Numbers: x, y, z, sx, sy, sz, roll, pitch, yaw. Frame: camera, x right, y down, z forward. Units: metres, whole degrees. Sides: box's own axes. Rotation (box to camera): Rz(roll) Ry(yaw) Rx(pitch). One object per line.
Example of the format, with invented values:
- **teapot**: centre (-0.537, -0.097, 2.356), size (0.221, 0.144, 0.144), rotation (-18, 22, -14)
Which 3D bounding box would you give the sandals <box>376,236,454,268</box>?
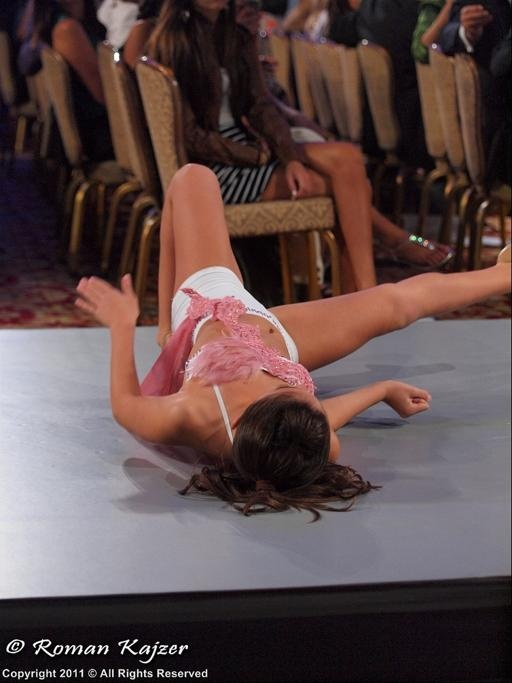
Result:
- **sandals**: centre (0.524, -0.293, 2.193), size (0.313, 0.088, 0.083), rotation (2, -10, -10)
